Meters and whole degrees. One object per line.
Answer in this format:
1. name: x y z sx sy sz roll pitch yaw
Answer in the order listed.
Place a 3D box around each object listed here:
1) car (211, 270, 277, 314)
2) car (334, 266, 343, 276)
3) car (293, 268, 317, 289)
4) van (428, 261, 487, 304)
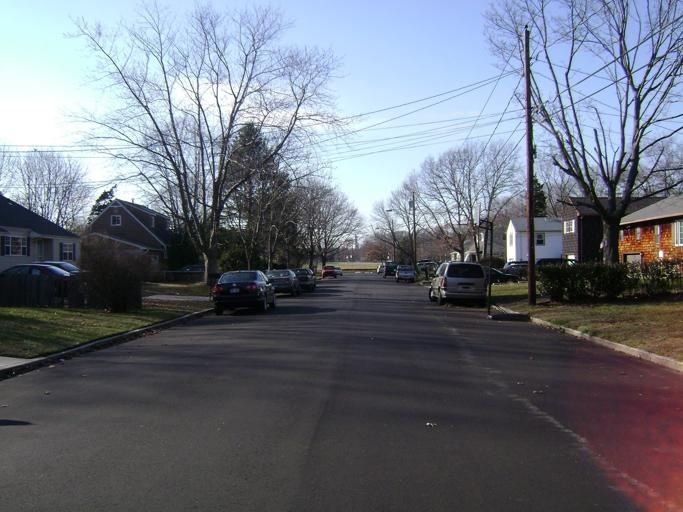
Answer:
1. car: -3.714 1.387 23.334 1.746 1.660 2.325 0 3 7
2. car: -0.429 2.233 88.743 1.321 1.173 3.198 -1 -5 -1
3. car: -2.438 1.545 40.324 1.137 1.064 2.949 0 3 5
4. van: 4.877 1.197 26.036 1.651 1.899 2.946 -1 3 -11
